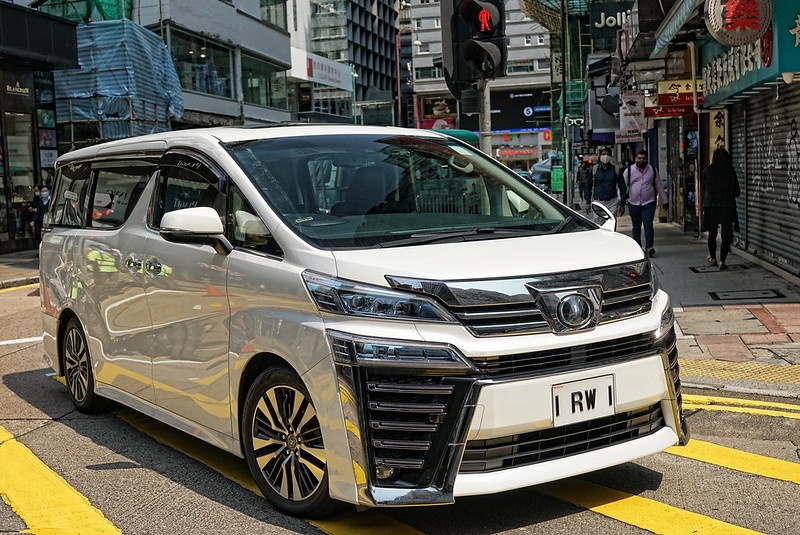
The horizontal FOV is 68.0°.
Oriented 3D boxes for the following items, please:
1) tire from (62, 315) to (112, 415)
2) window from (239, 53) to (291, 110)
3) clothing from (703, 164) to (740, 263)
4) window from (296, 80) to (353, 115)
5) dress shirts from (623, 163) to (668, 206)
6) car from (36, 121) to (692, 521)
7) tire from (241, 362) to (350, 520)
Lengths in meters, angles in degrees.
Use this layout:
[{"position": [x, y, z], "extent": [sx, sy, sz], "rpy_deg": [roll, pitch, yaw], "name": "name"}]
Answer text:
[{"position": [-2.885, 0.888, 5.456], "extent": [0.228, 0.729, 0.712], "rpy_deg": [2, -35, -42], "name": "tire"}, {"position": [-8.836, -11.753, 38.418], "extent": [0.094, 2.674, 7.202], "rpy_deg": [-15, 24, -35], "name": "window"}, {"position": [6.995, -1.284, 12.830], "extent": [0.733, 2.363, 0.676], "rpy_deg": [1, 3, 28], "name": "clothing"}, {"position": [-7.788, -16.662, 59.799], "extent": [1.427, 3.372, 9.283], "rpy_deg": [4, 15, 35], "name": "window"}, {"position": [6.077, -2.038, 14.696], "extent": [1.038, 1.046, 0.535], "rpy_deg": [1, 8, 28], "name": "dress shirts"}, {"position": [-0.714, 0.244, 4.305], "extent": [2.566, 1.715, 3.988], "rpy_deg": [-1, 2, -36], "name": "car"}, {"position": [-0.659, 1.021, 3.527], "extent": [0.752, 0.902, 0.132], "rpy_deg": [3, 7, 40], "name": "tire"}]
